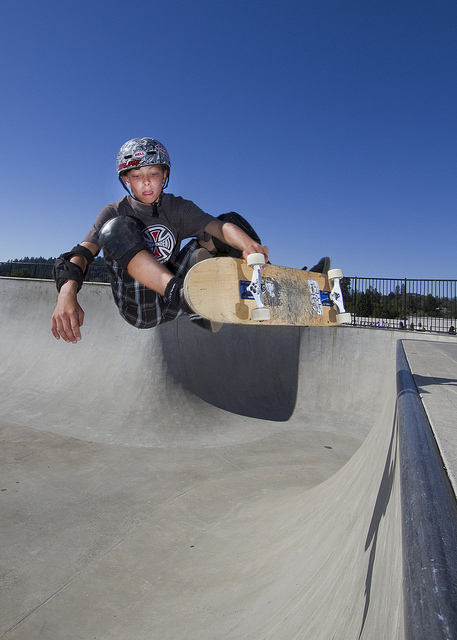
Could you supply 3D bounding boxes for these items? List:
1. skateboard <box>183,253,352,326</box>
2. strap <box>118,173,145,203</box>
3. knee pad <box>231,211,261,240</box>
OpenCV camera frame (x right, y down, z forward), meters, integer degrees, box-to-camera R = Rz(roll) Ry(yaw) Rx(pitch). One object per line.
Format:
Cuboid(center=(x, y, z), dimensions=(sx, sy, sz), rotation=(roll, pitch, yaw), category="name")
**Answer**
Cuboid(center=(0.377, -0.149, 2.518), dimensions=(0.210, 0.361, 1.513), rotation=(-3, -4, 39), category="skateboard")
Cuboid(center=(-0.632, -0.834, 2.720), dimensions=(0.134, 0.172, 0.138), rotation=(1, -1, 33), category="strap")
Cuboid(center=(0.110, -0.619, 2.819), dimensions=(0.108, 0.169, 0.208), rotation=(1, -1, -33), category="knee pad")
